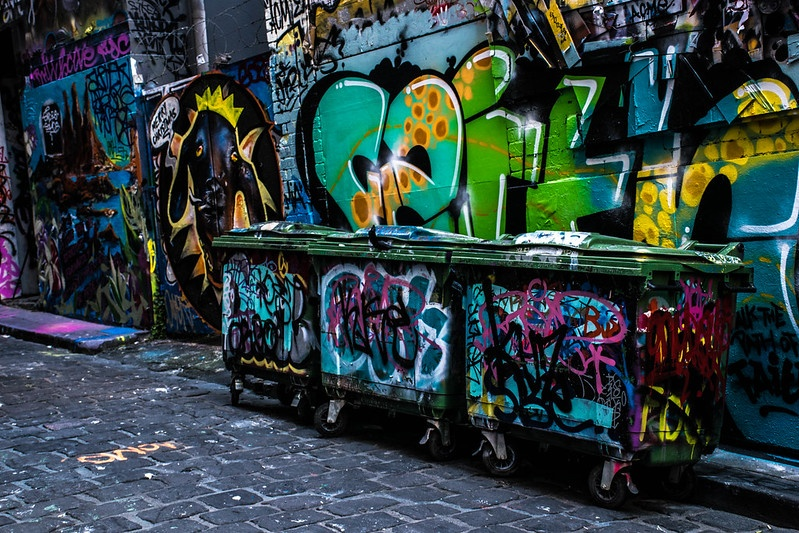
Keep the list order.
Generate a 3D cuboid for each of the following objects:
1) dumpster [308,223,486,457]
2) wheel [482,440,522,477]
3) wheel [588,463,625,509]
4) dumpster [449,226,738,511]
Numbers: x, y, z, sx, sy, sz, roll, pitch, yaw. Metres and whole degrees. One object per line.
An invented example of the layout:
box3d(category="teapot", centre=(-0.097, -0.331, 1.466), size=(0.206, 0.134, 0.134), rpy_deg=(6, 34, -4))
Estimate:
box3d(category="dumpster", centre=(-0.021, 0.648, 7.902), size=(1.707, 2.409, 1.484), rpy_deg=(5, 10, 19))
box3d(category="wheel", centre=(0.962, 1.799, 6.780), size=(0.270, 0.324, 0.115), rpy_deg=(-5, -6, 3))
box3d(category="wheel", centre=(1.793, 1.889, 6.198), size=(0.114, 0.367, 0.284), rpy_deg=(-7, 18, -44))
box3d(category="dumpster", centre=(1.760, 0.835, 6.969), size=(1.619, 2.719, 2.418), rpy_deg=(-6, 5, -43))
